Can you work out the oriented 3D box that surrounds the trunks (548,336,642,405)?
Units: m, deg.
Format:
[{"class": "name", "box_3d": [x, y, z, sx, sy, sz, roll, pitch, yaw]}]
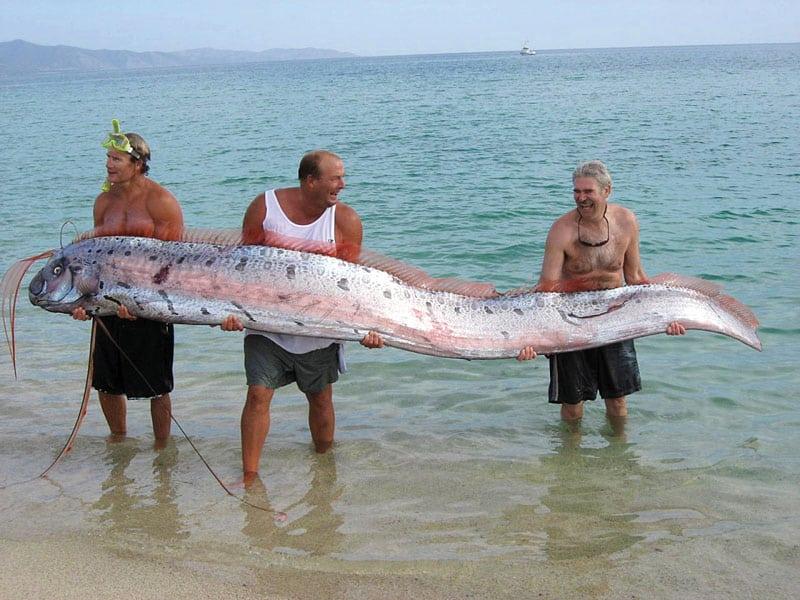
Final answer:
[{"class": "trunks", "box_3d": [1.818, 0.653, 9.274, 1.234, 0.618, 0.503, -4, 3, -8]}]

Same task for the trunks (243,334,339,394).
[{"class": "trunks", "box_3d": [-1.008, 0.556, 8.772, 0.941, 0.487, 0.368, 5, -13, -36]}]

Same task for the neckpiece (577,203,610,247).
[{"class": "neckpiece", "box_3d": [1.802, -0.676, 9.070, 0.401, 0.345, 0.125, -2, 7, 8]}]
